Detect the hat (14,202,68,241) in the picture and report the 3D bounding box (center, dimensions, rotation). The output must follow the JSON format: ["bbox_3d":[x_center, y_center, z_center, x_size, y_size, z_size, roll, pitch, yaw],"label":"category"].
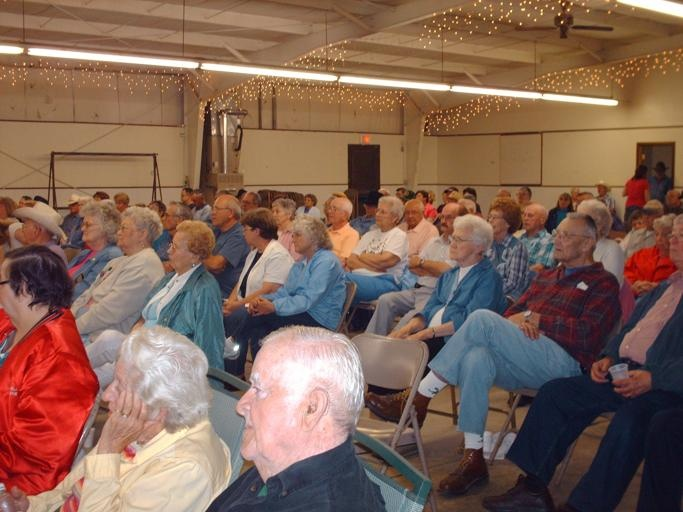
[{"bbox_3d":[-2.948,-0.370,5.389,0.436,0.190,0.385,37,-5,-17],"label":"hat"}]

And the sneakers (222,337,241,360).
[{"bbox_3d":[-0.972,0.797,4.745,0.157,0.104,0.211,0,7,-38],"label":"sneakers"}]

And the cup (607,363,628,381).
[{"bbox_3d":[1.595,0.666,3.179,0.104,0.100,0.113,-16,-7,-2],"label":"cup"}]
